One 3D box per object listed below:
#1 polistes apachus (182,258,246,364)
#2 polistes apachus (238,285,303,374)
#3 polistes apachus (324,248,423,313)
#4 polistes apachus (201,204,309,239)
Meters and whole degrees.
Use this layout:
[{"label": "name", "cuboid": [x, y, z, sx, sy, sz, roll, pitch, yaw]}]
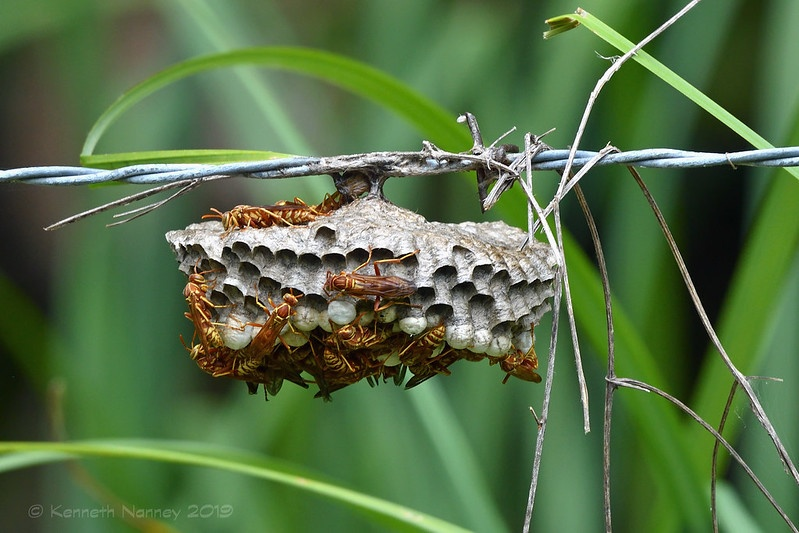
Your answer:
[{"label": "polistes apachus", "cuboid": [-0.651, 0.166, 3.505, 0.279, 0.112, 0.351, 2, -73, 42]}, {"label": "polistes apachus", "cuboid": [-0.467, 0.232, 3.434, 0.234, 0.090, 0.295, 36, -71, 3]}, {"label": "polistes apachus", "cuboid": [-0.101, 0.055, 3.222, 0.296, 0.109, 0.213, 1, -83, 5]}, {"label": "polistes apachus", "cuboid": [-0.523, -0.164, 3.376, 0.326, 0.221, 0.091, -9, -90, -6]}]
